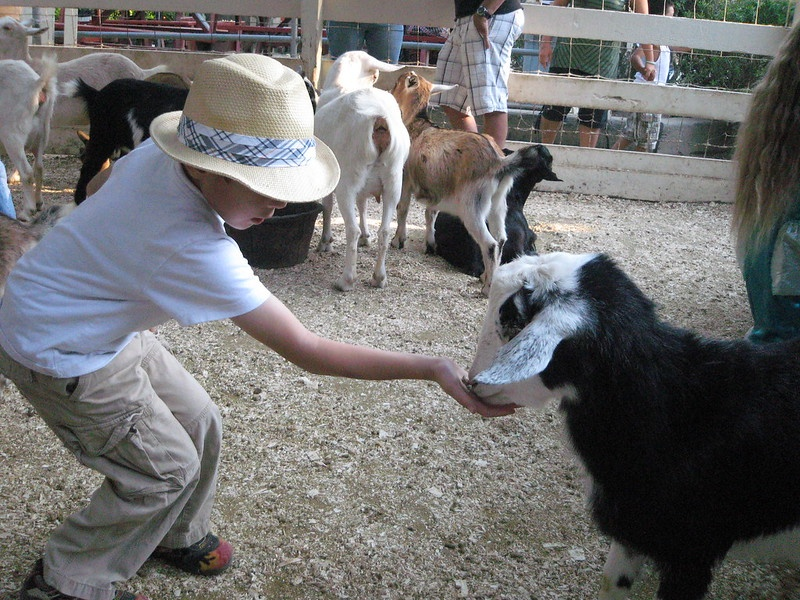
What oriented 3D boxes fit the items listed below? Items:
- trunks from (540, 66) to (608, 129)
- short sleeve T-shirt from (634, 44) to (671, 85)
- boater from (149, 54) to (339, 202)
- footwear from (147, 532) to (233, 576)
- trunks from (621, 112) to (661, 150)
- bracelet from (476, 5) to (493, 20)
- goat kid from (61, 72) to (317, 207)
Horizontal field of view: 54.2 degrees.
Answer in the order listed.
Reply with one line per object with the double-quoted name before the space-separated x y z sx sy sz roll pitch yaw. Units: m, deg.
"trunks" 1.843 -2.145 8.224 0.583 0.526 0.329 5 32 0
"short sleeve T-shirt" 2.845 -2.641 8.743 0.222 0.441 0.781 7 34 23
"boater" -0.548 -0.666 2.785 0.676 0.413 0.744 -11 33 -32
"footwear" -0.834 1.074 3.255 0.366 0.164 0.137 2 23 -1
"trunks" 2.673 -1.873 8.633 0.288 0.375 0.201 25 36 29
"bracelet" 0.692 -2.319 6.300 0.132 0.095 0.076 3 17 -10
"goat kid" -1.988 -1.291 6.429 1.556 1.011 0.472 3 21 6
